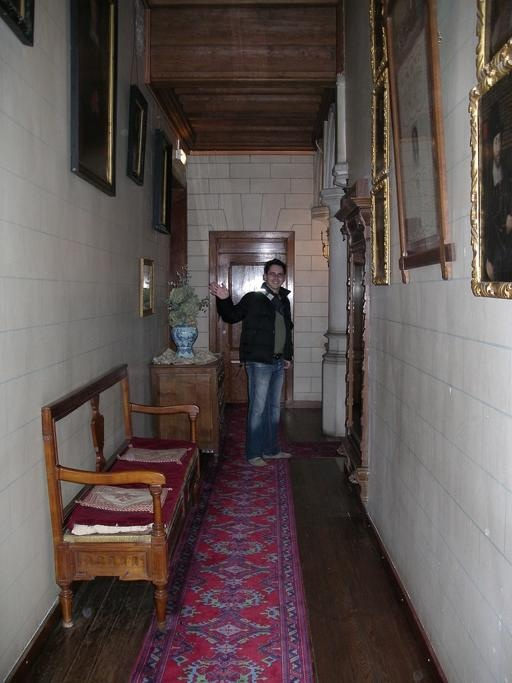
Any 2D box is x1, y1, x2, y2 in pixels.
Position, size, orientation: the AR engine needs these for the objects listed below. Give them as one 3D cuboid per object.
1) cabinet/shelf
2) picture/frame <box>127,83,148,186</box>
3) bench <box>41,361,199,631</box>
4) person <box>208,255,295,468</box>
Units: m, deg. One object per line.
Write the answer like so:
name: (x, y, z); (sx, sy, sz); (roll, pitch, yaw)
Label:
cabinet/shelf: (-0.714, 0.564, 4.585); (0.628, 1.270, 1.284); (-1, 10, -1)
picture/frame: (-1.030, -1.781, 3.805); (0.047, 0.740, 0.464); (-7, 32, -33)
bench: (-0.731, 0.835, 2.321); (0.295, 0.771, 0.999); (-1, 7, -1)
person: (0.099, 0.243, 4.606); (0.527, 2.091, 0.614); (-1, -2, 16)
